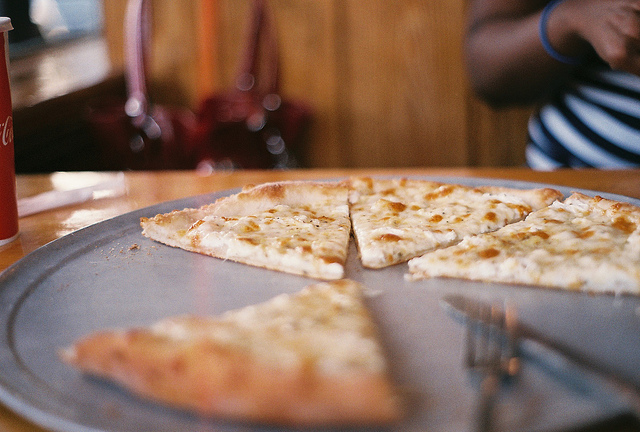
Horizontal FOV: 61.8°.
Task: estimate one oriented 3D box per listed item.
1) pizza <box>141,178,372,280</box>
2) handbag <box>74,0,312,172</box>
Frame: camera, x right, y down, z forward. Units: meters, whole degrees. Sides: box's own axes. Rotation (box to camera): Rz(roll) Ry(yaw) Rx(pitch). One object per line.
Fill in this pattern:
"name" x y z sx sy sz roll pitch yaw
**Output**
"pizza" -0.146 0.022 1.286 0.314 0.054 0.306 3 26 1
"handbag" -0.699 -0.713 2.874 1.093 0.538 1.000 -1 93 -5
